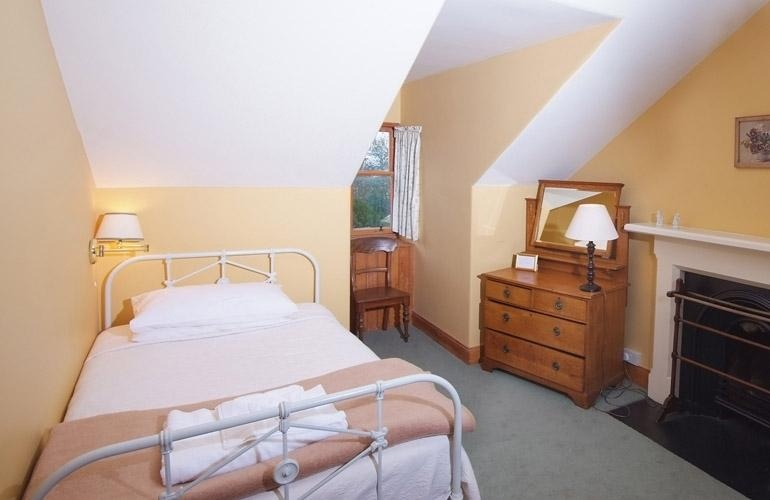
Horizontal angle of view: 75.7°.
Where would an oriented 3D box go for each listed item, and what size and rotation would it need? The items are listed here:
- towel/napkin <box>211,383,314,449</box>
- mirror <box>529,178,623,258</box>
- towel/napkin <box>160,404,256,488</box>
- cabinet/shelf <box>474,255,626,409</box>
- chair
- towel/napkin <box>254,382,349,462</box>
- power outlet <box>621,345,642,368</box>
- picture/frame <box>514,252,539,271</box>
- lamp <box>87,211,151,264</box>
[{"bbox_3d":[-0.616,0.848,2.553,0.330,0.077,0.261,-6,10,-22],"label":"towel/napkin"},{"bbox_3d":[1.694,-0.279,4.314,0.066,0.585,0.668,1,8,-30],"label":"mirror"},{"bbox_3d":[-0.868,0.897,2.443,0.428,0.282,0.384,-4,13,-17],"label":"towel/napkin"},{"bbox_3d":[1.495,0.728,4.486,0.651,0.926,1.101,-8,12,-35],"label":"cabinet/shelf"},{"bbox_3d":[-0.059,0.406,5.137,0.648,1.029,0.622,0,11,-1],"label":"chair"},{"bbox_3d":[-0.422,0.850,2.494,0.339,0.102,0.325,-4,5,-24],"label":"towel/napkin"},{"bbox_3d":[2.157,0.940,4.309,0.124,0.146,0.213,-2,7,-24],"label":"power outlet"},{"bbox_3d":[1.335,0.117,4.651,0.170,0.128,0.018,4,-2,43],"label":"picture/frame"},{"bbox_3d":[-1.991,-0.067,3.693,0.382,0.359,0.330,-1,-5,-31],"label":"lamp"}]
